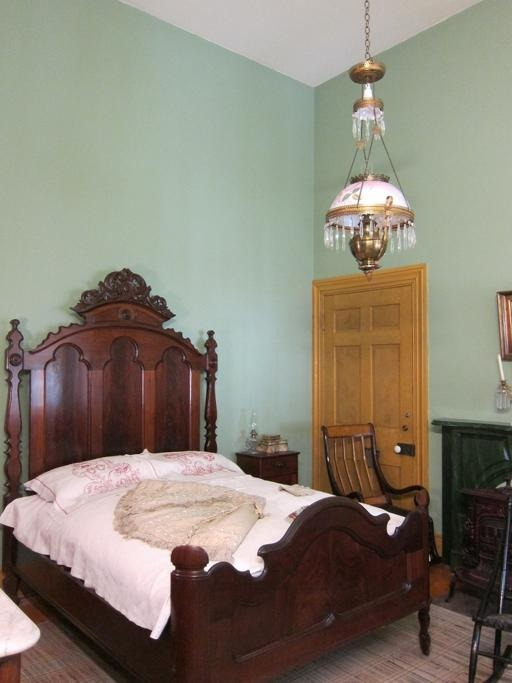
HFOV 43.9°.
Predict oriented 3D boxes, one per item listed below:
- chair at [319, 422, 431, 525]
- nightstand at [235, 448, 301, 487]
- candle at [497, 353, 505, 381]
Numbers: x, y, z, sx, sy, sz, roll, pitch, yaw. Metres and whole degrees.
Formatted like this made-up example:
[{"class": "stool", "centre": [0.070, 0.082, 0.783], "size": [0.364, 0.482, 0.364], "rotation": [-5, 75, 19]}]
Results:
[{"class": "chair", "centre": [0.835, 0.952, 4.763], "size": [0.661, 1.003, 0.783], "rotation": [1, -13, -23]}, {"class": "nightstand", "centre": [0.088, 0.890, 4.853], "size": [0.382, 0.330, 0.304], "rotation": [2, -4, -45]}, {"class": "candle", "centre": [1.584, 0.169, 4.117], "size": [0.061, 0.170, 0.104], "rotation": [5, 2, 30]}]
